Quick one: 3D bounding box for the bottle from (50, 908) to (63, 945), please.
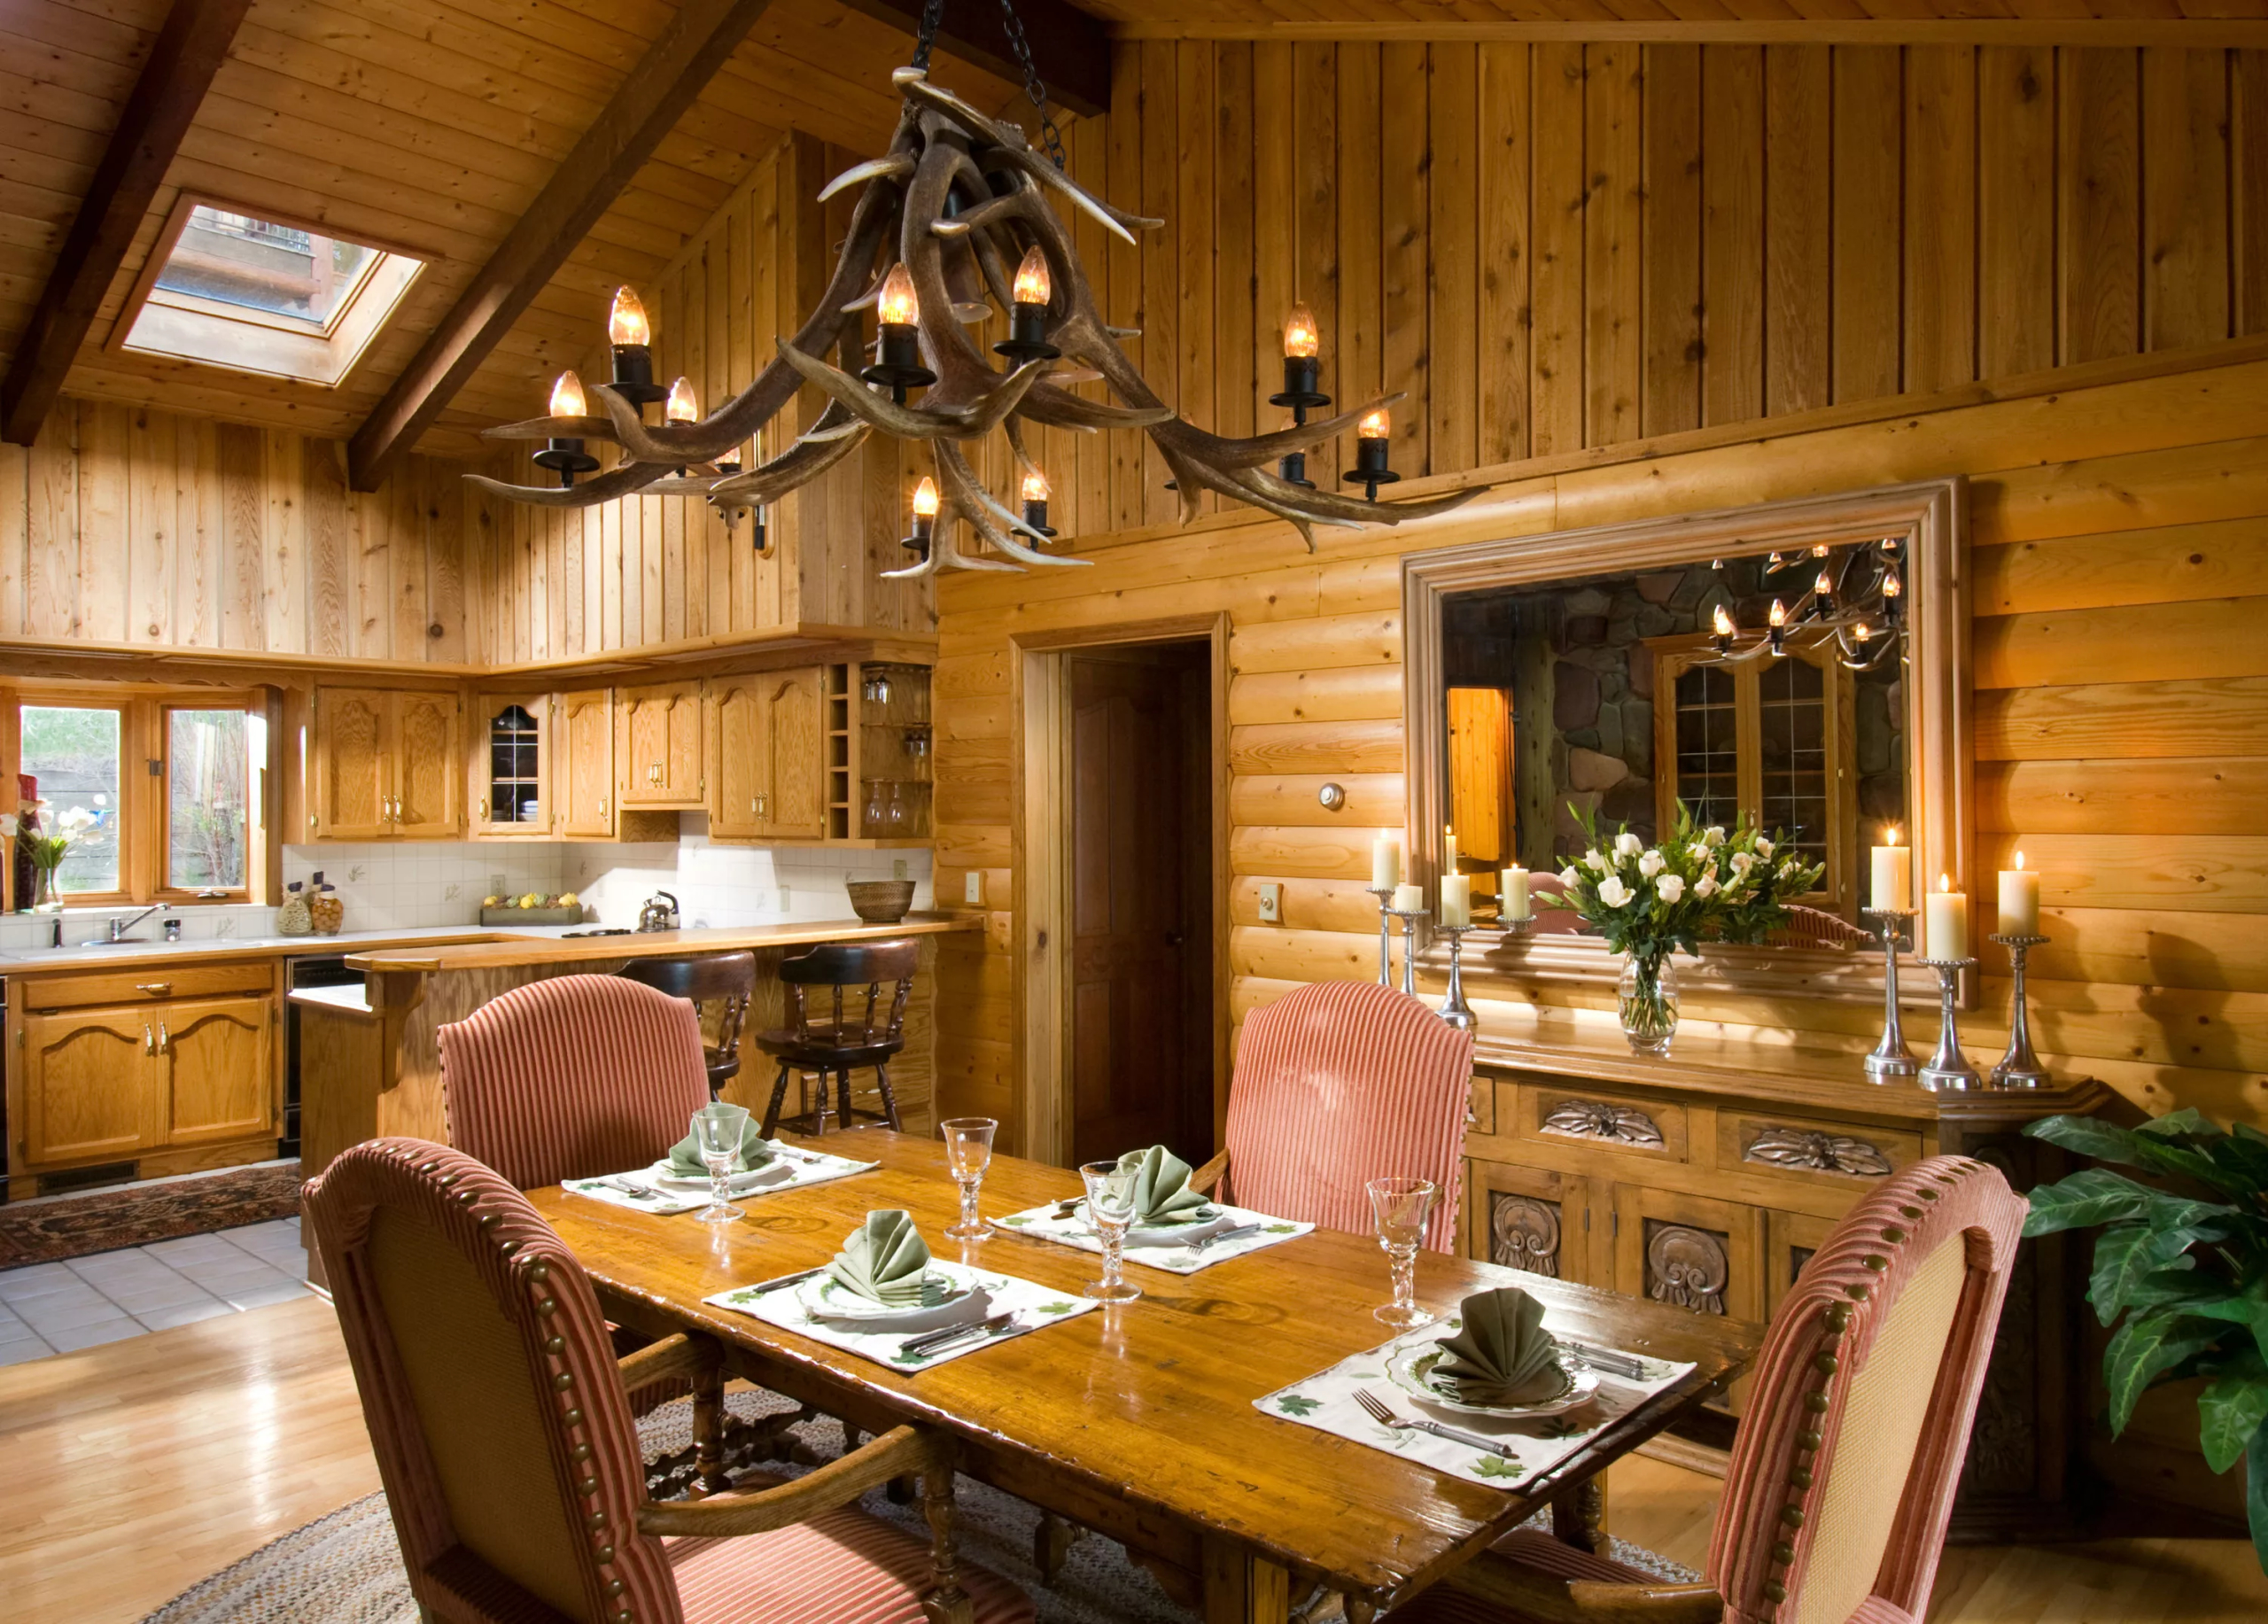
[{"bbox_3d":[-4.570,0.490,7.257,0.051,0.133,0.114,-6,10,-29],"label":"bottle"}]

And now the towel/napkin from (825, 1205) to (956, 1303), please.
[{"bbox_3d":[-0.466,0.839,3.268,0.161,0.087,0.204,0,-4,16],"label":"towel/napkin"}]

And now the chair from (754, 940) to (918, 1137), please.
[{"bbox_3d":[-1.071,0.794,6.228,0.515,0.802,0.890,-2,9,-9],"label":"chair"}]

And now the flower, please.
[{"bbox_3d":[1.558,0.226,4.789,0.529,0.434,0.531,5,1,0],"label":"flower"}]

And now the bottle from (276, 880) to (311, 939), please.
[{"bbox_3d":[-3.876,0.439,7.891,0.138,0.227,0.191,-4,10,-24],"label":"bottle"}]

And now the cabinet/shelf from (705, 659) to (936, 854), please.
[{"bbox_3d":[-1.251,-0.236,7.042,0.302,0.534,0.843,5,-7,-44],"label":"cabinet/shelf"}]

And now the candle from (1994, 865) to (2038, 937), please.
[{"bbox_3d":[2.197,0.231,4.256,0.071,0.158,0.083,2,10,14],"label":"candle"}]

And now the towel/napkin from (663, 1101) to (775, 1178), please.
[{"bbox_3d":[-0.896,0.717,3.717,0.240,0.092,0.232,0,-8,5],"label":"towel/napkin"}]

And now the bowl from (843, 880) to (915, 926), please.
[{"bbox_3d":[-1.002,0.353,6.754,0.203,0.119,0.197,0,-1,0],"label":"bowl"}]

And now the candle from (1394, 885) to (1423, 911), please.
[{"bbox_3d":[0.834,0.261,5.182,0.088,0.075,0.075,2,-1,10],"label":"candle"}]

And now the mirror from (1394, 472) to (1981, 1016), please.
[{"bbox_3d":[1.627,-0.190,4.843,1.742,1.129,0.134,-4,-6,42],"label":"mirror"}]

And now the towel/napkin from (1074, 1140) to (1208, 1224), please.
[{"bbox_3d":[0.011,0.781,3.540,0.223,0.094,0.226,-2,-4,44],"label":"towel/napkin"}]

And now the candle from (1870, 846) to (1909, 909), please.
[{"bbox_3d":[1.970,0.174,4.434,0.073,0.168,0.163,8,12,42],"label":"candle"}]

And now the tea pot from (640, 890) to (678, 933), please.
[{"bbox_3d":[-2.150,0.456,7.717,0.180,0.188,0.175,1,1,0],"label":"tea pot"}]

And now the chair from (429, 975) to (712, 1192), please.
[{"bbox_3d":[-1.351,0.584,4.281,0.623,0.696,0.558,2,-3,-42],"label":"chair"}]

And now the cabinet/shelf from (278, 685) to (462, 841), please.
[{"bbox_3d":[-3.643,-0.235,8.068,0.807,0.696,0.284,1,0,-42],"label":"cabinet/shelf"}]

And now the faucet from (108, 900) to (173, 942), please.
[{"bbox_3d":[-4.304,0.490,7.436,0.218,0.127,0.298,-1,8,-7],"label":"faucet"}]

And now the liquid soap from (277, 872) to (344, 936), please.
[{"bbox_3d":[-3.802,0.430,7.871,0.305,0.242,0.155,-1,-5,13],"label":"liquid soap"}]

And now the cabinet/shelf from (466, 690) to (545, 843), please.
[{"bbox_3d":[-3.041,-0.215,8.350,0.433,0.640,0.254,0,10,3],"label":"cabinet/shelf"}]

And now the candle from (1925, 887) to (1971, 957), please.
[{"bbox_3d":[2.052,0.288,4.317,0.090,0.169,0.137,4,10,24],"label":"candle"}]
